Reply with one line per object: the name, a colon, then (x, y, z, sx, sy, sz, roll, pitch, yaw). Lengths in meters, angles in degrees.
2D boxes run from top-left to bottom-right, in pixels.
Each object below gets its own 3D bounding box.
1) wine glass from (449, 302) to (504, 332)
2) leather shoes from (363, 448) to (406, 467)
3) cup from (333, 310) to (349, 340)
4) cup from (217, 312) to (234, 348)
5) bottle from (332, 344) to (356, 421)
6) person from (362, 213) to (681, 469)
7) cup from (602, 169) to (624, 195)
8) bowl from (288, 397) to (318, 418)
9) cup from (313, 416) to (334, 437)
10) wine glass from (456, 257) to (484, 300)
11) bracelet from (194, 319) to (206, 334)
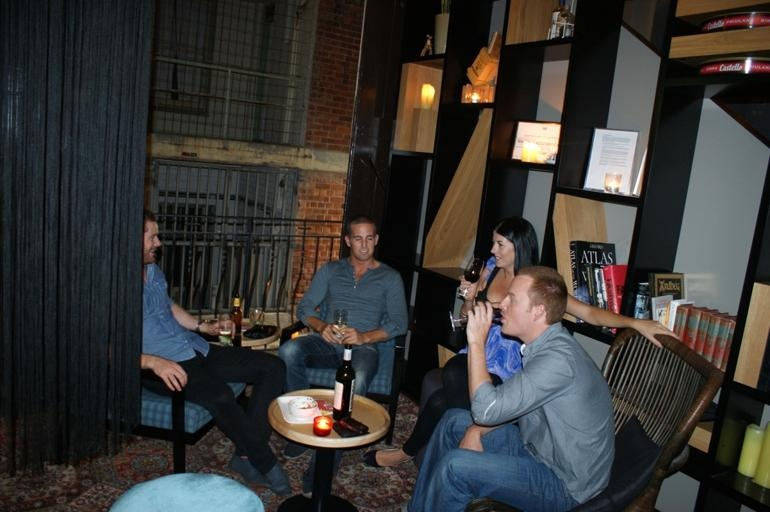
wine glass: (0.627, 0.430, 3.964, 0.353, 0.133, 0.218, 2, 4, 37)
leather shoes: (-0.008, 1.332, 3.643, 0.324, 0.123, 0.079, -4, -13, 11)
cup: (-0.296, 0.456, 3.683, 0.079, 0.206, 0.075, 3, 8, 0)
cup: (-1.135, 0.551, 3.940, 0.111, 0.182, 0.109, 2, -2, 0)
bottle: (-0.231, 0.696, 3.139, 0.114, 0.469, 0.256, 2, 8, -5)
person: (0.857, 0.552, 3.601, 1.731, 1.600, 0.866, 3, 7, 32)
cup: (1.386, -0.442, 3.351, 0.118, 0.136, 0.120, 1, 3, 0)
bowl: (-0.454, 0.860, 3.139, 0.172, 0.074, 0.150, 4, 8, 5)
cup: (-0.336, 0.916, 3.007, 0.103, 0.078, 0.121, 2, 8, -7)
wine glass: (0.548, 0.184, 3.802, 0.102, 0.105, 0.317, 12, 42, 4)
bracelet: (-1.280, 0.485, 3.877, 0.061, 0.096, 0.090, 6, -21, -12)
